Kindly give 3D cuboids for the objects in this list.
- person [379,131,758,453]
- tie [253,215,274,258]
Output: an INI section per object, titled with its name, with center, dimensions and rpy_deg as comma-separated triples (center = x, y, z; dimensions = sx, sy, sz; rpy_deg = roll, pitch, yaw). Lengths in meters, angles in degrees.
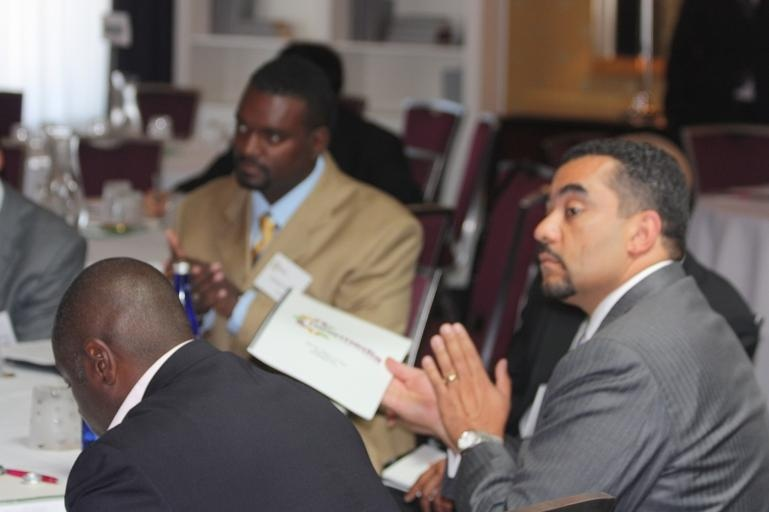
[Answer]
[person]
center = 0.545, 0.085, 2.202
dimensions = 0.916, 1.196, 0.753
rpy_deg = 3, 0, 8
[tie]
center = -0.429, -0.072, 2.645
dimensions = 0.084, 0.151, 0.050
rpy_deg = 21, 4, -2
